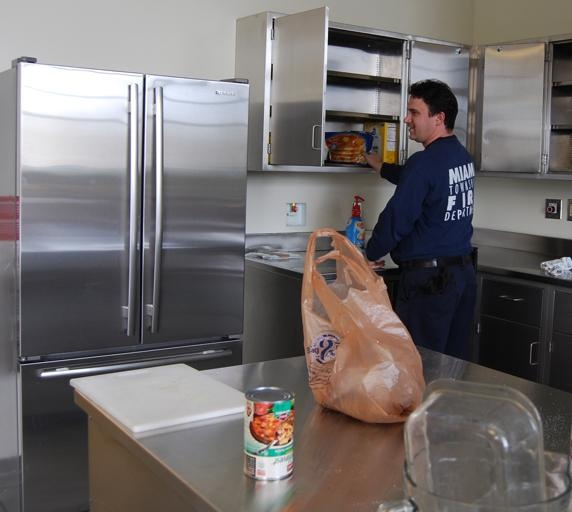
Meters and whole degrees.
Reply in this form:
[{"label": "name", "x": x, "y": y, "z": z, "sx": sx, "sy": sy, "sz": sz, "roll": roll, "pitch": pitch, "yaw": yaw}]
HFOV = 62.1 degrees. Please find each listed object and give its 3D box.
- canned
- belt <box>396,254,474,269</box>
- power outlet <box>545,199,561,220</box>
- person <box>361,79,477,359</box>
[{"label": "canned", "x": -0.025, "y": 0.275, "z": 0.705, "sx": 0.071, "sy": 0.142, "sz": 0.068, "roll": 1, "pitch": 3, "yaw": -5}, {"label": "belt", "x": 0.805, "y": 0.035, "z": 2.464, "sx": 0.429, "sy": 0.079, "sz": 0.149, "roll": 0, "pitch": 4, "yaw": -21}, {"label": "power outlet", "x": 1.825, "y": -0.322, "z": 3.251, "sx": 0.036, "sy": 0.132, "sz": 0.124, "roll": 0, "pitch": 5, "yaw": -29}, {"label": "person", "x": 0.740, "y": -0.162, "z": 2.461, "sx": 0.624, "sy": 1.467, "sz": 0.278, "roll": 0, "pitch": 3, "yaw": -19}]
